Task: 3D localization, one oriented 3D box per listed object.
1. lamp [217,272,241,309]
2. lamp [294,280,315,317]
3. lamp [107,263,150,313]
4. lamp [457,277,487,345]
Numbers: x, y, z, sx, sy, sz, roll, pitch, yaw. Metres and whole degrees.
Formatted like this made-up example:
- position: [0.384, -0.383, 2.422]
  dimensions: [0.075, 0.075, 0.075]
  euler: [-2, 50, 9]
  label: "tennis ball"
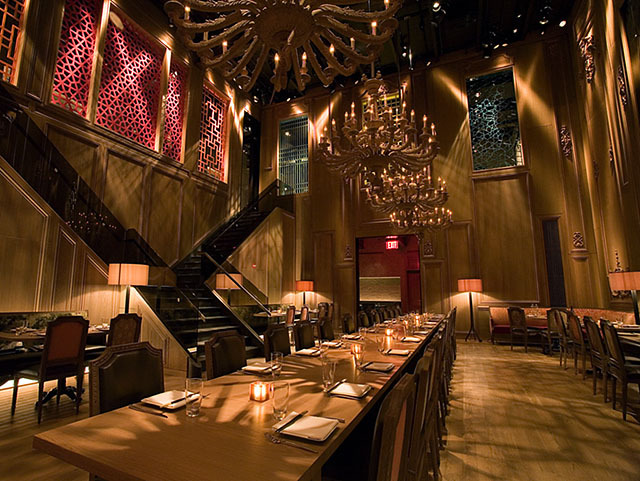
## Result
- position: [-1.972, 1.044, 9.625]
  dimensions: [0.539, 0.955, 0.577]
  euler: [-7, -11, 31]
  label: "lamp"
- position: [-0.412, 1.450, 12.804]
  dimensions: [0.587, 1.124, 0.599]
  euler: [-12, -18, 44]
  label: "lamp"
- position: [-3.263, 0.798, 7.825]
  dimensions: [0.587, 0.974, 0.726]
  euler: [-2, 12, -12]
  label: "lamp"
- position: [3.682, 1.687, 11.155]
  dimensions: [0.621, 1.564, 0.659]
  euler: [4, 12, 17]
  label: "lamp"
